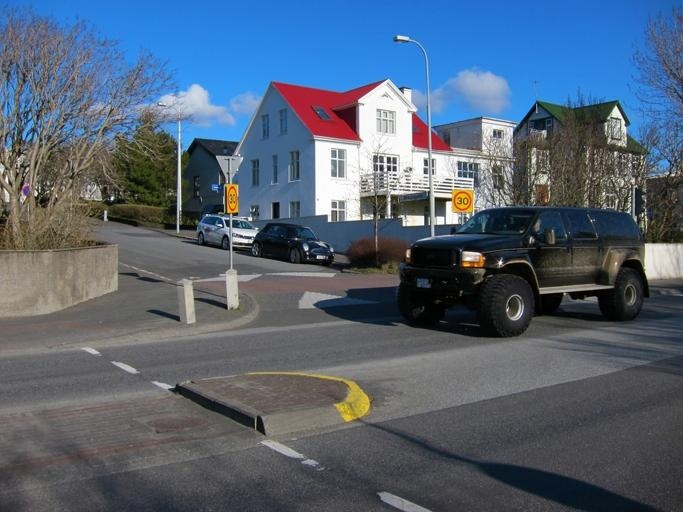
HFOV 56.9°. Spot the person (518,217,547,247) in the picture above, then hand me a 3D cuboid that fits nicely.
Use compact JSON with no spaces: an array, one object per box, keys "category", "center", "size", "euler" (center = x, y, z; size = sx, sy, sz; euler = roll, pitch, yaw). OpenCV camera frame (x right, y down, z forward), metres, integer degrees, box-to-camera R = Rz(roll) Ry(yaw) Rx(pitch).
[{"category":"person","center":[4.030,-0.496,13.156],"size":[0.819,0.555,0.332],"euler":[-4,6,-38]}]

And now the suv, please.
[{"category":"suv","center":[3.901,0.207,13.878],"size":[4.595,2.469,2.765],"euler":[4,-6,-34]}]

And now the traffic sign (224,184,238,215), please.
[{"category":"traffic sign","center":[-3.067,-1.572,17.582],"size":[0.342,0.866,1.420],"euler":[-1,5,-12]}]

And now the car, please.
[{"category":"car","center":[-2.199,-0.512,29.462],"size":[1.825,1.542,3.214],"euler":[2,1,-38]}]
